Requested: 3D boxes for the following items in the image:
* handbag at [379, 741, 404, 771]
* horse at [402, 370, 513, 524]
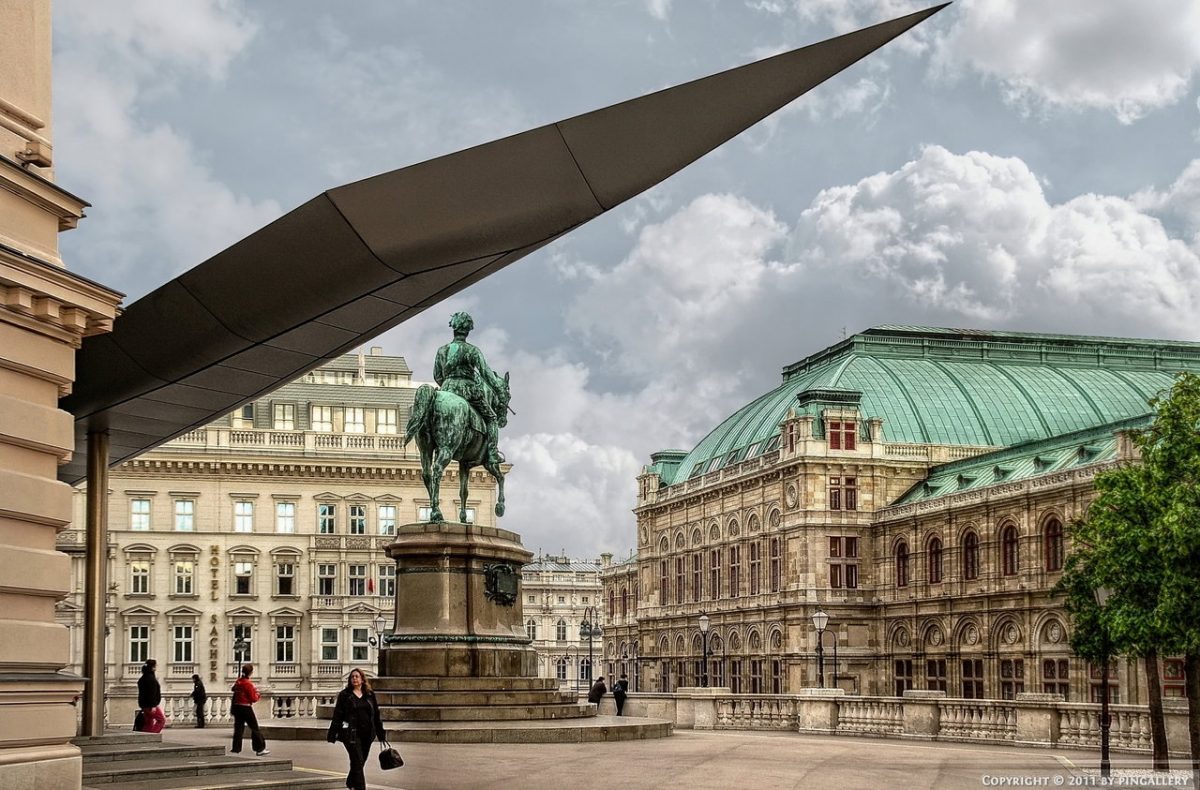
[{"bbox_3d":[-4.266,7.368,39.035,0.384,0.494,0.691,0,-18,-5],"label":"handbag"},{"bbox_3d":[-4.051,1.520,51.035,1.132,3.947,2.638,-17,-25,37],"label":"horse"}]
